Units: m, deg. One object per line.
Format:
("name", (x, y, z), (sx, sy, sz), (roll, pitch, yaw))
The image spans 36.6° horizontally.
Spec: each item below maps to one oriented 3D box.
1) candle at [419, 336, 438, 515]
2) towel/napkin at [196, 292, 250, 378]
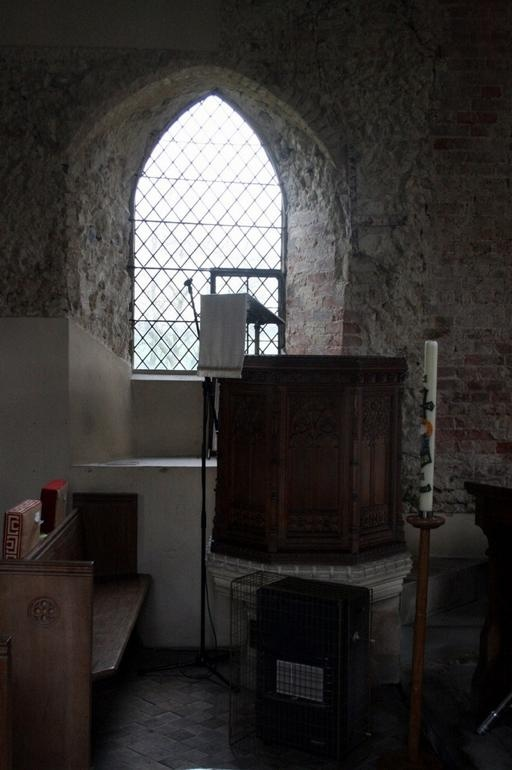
("candle", (0.653, 0.165, 2.974), (0.082, 0.482, 0.319), (-2, 1, 12))
("towel/napkin", (-0.165, -0.237, 3.721), (0.246, 0.354, 0.308), (-3, 1, -4))
